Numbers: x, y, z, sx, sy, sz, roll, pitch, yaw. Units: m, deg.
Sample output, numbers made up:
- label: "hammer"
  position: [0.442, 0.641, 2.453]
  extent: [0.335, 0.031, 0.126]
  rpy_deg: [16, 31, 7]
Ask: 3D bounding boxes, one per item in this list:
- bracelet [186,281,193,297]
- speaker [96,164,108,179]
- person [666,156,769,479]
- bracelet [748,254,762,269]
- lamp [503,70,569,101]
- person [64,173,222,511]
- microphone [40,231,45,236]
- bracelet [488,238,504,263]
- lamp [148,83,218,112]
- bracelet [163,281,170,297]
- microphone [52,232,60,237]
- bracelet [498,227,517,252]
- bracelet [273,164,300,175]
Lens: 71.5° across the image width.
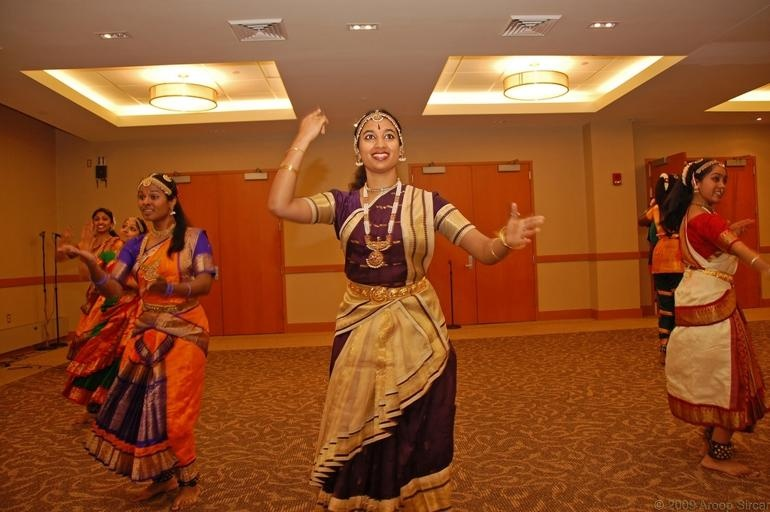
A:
- label: "bracelet"
  position: [-1.764, 0.295, 4.837]
  extent: [0.028, 0.097, 0.101]
  rpy_deg: [-2, -7, -10]
- label: "speaker"
  position: [-5.634, -1.665, 10.659]
  extent: [0.271, 0.247, 0.091]
  rpy_deg: [2, -3, -6]
- label: "person"
  position: [3.210, 0.537, 5.216]
  extent: [0.819, 2.974, 0.484]
  rpy_deg: [0, 1, 35]
- label: "bracelet"
  position: [3.386, 0.051, 4.920]
  extent: [0.093, 0.110, 0.043]
  rpy_deg: [12, 2, 17]
- label: "lamp"
  position: [2.520, -2.899, 9.005]
  extent: [1.016, 0.329, 0.797]
  rpy_deg: [0, 1, 11]
- label: "person"
  position: [-2.112, 0.748, 4.871]
  extent: [1.009, 3.031, 0.571]
  rpy_deg: [0, 1, 8]
- label: "microphone"
  position: [-6.552, -0.443, 10.280]
  extent: [0.077, 0.102, 0.220]
  rpy_deg: [-1, 2, -28]
- label: "bracelet"
  position: [0.794, -0.043, 3.849]
  extent: [0.116, 0.119, 0.118]
  rpy_deg: [-15, -25, -48]
- label: "lamp"
  position: [-3.361, -2.671, 8.959]
  extent: [1.024, 0.326, 0.697]
  rpy_deg: [-1, 2, -24]
- label: "bracelet"
  position: [-1.916, 0.293, 4.744]
  extent: [0.049, 0.111, 0.111]
  rpy_deg: [-1, 1, -13]
- label: "microphone"
  position: [-6.095, -0.396, 9.918]
  extent: [0.117, 0.106, 0.381]
  rpy_deg: [-9, 12, -41]
- label: "bracelet"
  position: [0.854, -0.117, 3.838]
  extent: [0.072, 0.156, 0.142]
  rpy_deg: [-1, 1, -30]
- label: "bracelet"
  position: [-0.713, -0.640, 3.954]
  extent: [0.149, 0.096, 0.062]
  rpy_deg: [-1, 1, -12]
